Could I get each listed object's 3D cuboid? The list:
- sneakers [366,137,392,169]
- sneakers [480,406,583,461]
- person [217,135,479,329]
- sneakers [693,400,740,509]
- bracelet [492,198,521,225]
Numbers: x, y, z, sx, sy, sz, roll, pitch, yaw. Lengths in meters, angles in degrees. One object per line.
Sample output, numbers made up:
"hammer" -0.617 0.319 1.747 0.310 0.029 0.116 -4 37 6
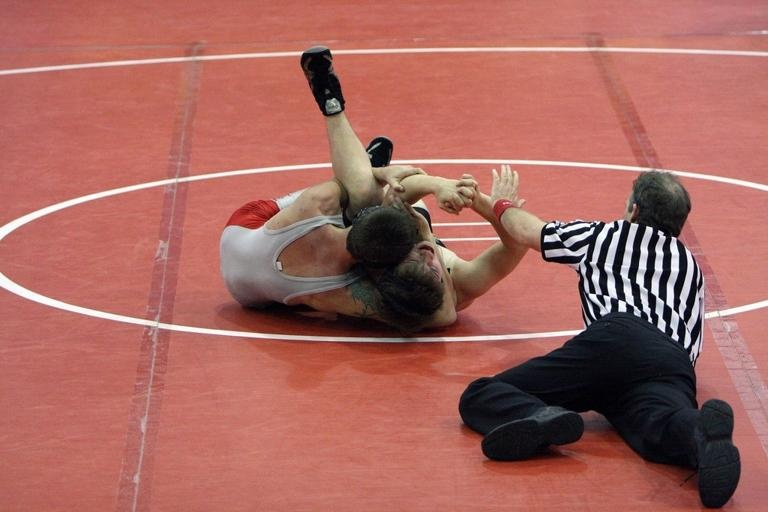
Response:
"sneakers" -0.021 -0.762 5.890 0.151 0.145 0.367 19 23 1
"sneakers" 0.700 0.954 4.305 0.659 0.211 0.244 -11 21 5
"person" -0.340 -0.092 5.268 1.487 0.994 1.030 6 59 6
"sneakers" 1.614 0.978 3.990 0.242 0.242 0.500 -3 92 -1
"bracelet" 0.741 -0.290 5.009 0.162 0.152 0.107 -19 80 -39
